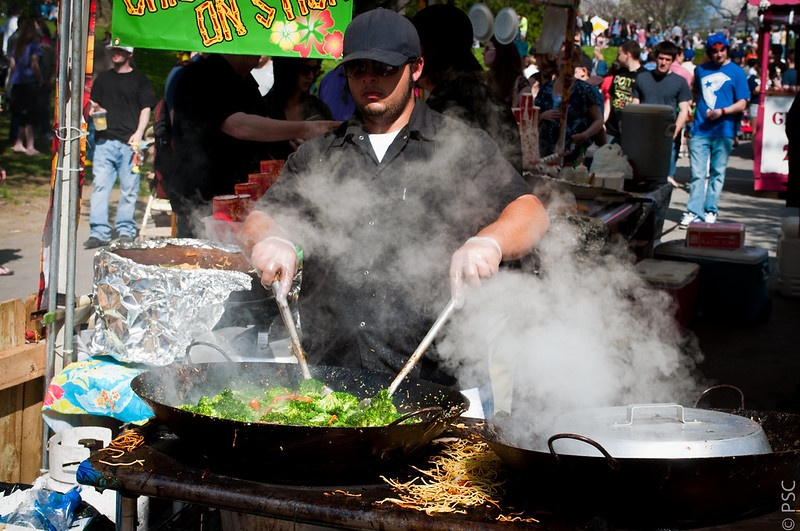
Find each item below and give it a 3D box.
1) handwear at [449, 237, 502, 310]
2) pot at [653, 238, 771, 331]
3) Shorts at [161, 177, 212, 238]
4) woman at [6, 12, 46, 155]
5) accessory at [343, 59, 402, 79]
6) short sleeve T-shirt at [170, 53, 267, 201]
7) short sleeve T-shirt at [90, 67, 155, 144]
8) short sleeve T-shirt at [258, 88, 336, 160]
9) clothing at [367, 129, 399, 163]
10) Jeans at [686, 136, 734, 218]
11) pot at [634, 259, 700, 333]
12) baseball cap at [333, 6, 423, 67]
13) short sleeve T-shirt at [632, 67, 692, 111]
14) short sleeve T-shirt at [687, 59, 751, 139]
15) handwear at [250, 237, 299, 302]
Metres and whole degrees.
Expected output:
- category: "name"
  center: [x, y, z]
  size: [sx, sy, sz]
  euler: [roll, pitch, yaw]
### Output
- category: "handwear"
  center: [0.306, 0.030, 3.636]
  size: [0.179, 0.299, 0.123]
  euler: [22, -2, 29]
- category: "pot"
  center: [2.659, -0.026, 7.348]
  size: [1.083, 0.696, 0.587]
  euler: [7, 20, 37]
- category: "Shorts"
  center: [-1.380, -0.381, 5.646]
  size: [0.313, 0.472, 0.377]
  euler: [4, 14, 15]
- category: "woman"
  center: [-5.709, -2.734, 13.237]
  size: [0.498, 2.022, 1.010]
  euler: [-3, 18, -24]
- category: "accessory"
  center: [-0.122, -0.877, 3.889]
  size: [0.272, 0.087, 0.057]
  euler: [6, 17, 3]
- category: "short sleeve T-shirt"
  center: [-1.122, -0.834, 5.300]
  size: [0.575, 1.006, 0.744]
  euler: [11, 16, 6]
- category: "short sleeve T-shirt"
  center: [-2.871, -1.671, 9.044]
  size: [0.631, 0.713, 0.538]
  euler: [0, 17, -15]
- category: "short sleeve T-shirt"
  center: [-0.914, -1.163, 6.739]
  size: [0.552, 0.172, 0.574]
  euler: [-10, 46, 7]
- category: "clothing"
  center: [-0.087, -0.565, 4.095]
  size: [0.146, 0.144, 0.139]
  euler: [-2, 5, -8]
- category: "Jeans"
  center: [3.497, -1.027, 10.027]
  size: [0.451, 0.999, 0.813]
  euler: [10, 17, 17]
- category: "pot"
  center: [2.095, 0.245, 6.977]
  size: [0.510, 0.452, 0.527]
  euler: [0, 19, 0]
- category: "baseball cap"
  center: [-0.088, -1.009, 3.892]
  size: [0.248, 0.192, 0.328]
  euler: [3, 7, 17]
- category: "short sleeve T-shirt"
  center: [3.066, -2.018, 10.253]
  size: [0.755, 0.579, 0.398]
  euler: [11, 37, 22]
- category: "short sleeve T-shirt"
  center: [3.569, -1.915, 9.814]
  size: [0.445, 0.829, 0.714]
  euler: [-22, 28, -32]
- category: "handwear"
  center: [-0.488, 0.029, 3.775]
  size: [0.306, 0.135, 0.193]
  euler: [28, 10, -1]
